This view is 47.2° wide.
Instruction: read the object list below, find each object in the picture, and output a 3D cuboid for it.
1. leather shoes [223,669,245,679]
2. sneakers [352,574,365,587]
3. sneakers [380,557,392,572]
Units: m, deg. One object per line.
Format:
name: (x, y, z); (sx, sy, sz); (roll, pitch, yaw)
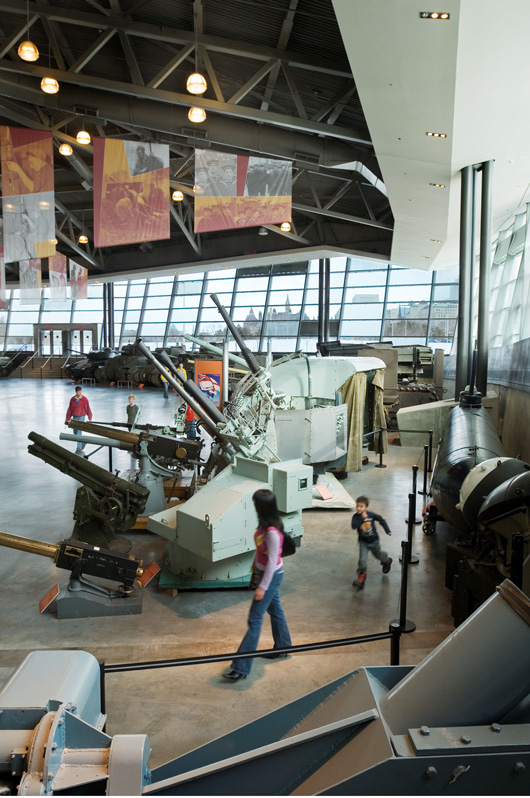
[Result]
leather shoes: (-0.213, 1.774, 3.955); (0.146, 0.066, 0.059); (1, -12, 24)
sneakers: (0.848, 1.658, 5.518); (0.066, 0.098, 0.142); (0, -11, 5)
sneakers: (1.157, 1.594, 5.840); (0.082, 0.176, 0.123); (0, -10, -4)
